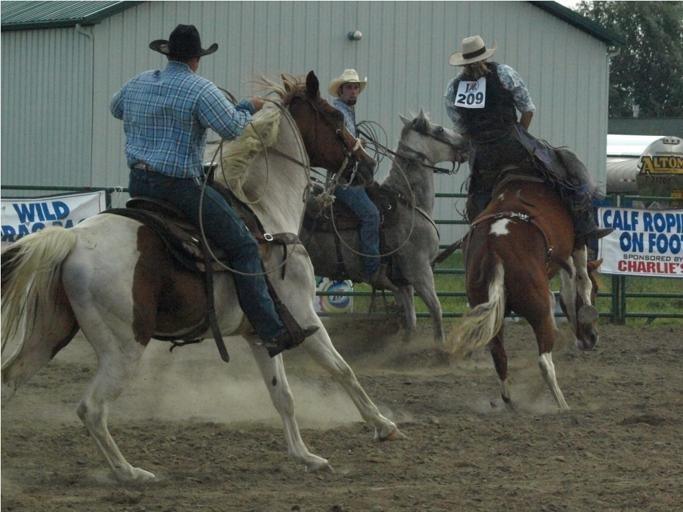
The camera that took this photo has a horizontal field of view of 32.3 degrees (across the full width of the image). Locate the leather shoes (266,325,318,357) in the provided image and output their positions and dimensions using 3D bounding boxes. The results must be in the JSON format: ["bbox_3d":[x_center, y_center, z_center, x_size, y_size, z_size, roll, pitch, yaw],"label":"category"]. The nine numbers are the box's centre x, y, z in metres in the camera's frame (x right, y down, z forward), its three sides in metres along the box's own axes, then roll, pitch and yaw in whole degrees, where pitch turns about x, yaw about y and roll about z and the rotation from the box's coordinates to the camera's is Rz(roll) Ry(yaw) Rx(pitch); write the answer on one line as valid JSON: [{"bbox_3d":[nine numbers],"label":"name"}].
[{"bbox_3d":[-0.586,0.960,13.642,0.499,0.203,0.280,-33,17,-11],"label":"leather shoes"}]

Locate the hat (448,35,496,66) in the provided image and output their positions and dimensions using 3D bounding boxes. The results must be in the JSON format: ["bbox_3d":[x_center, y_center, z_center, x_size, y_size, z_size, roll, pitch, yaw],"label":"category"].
[{"bbox_3d":[1.824,-2.720,15.969,0.473,0.229,0.588,-11,23,30],"label":"hat"}]
